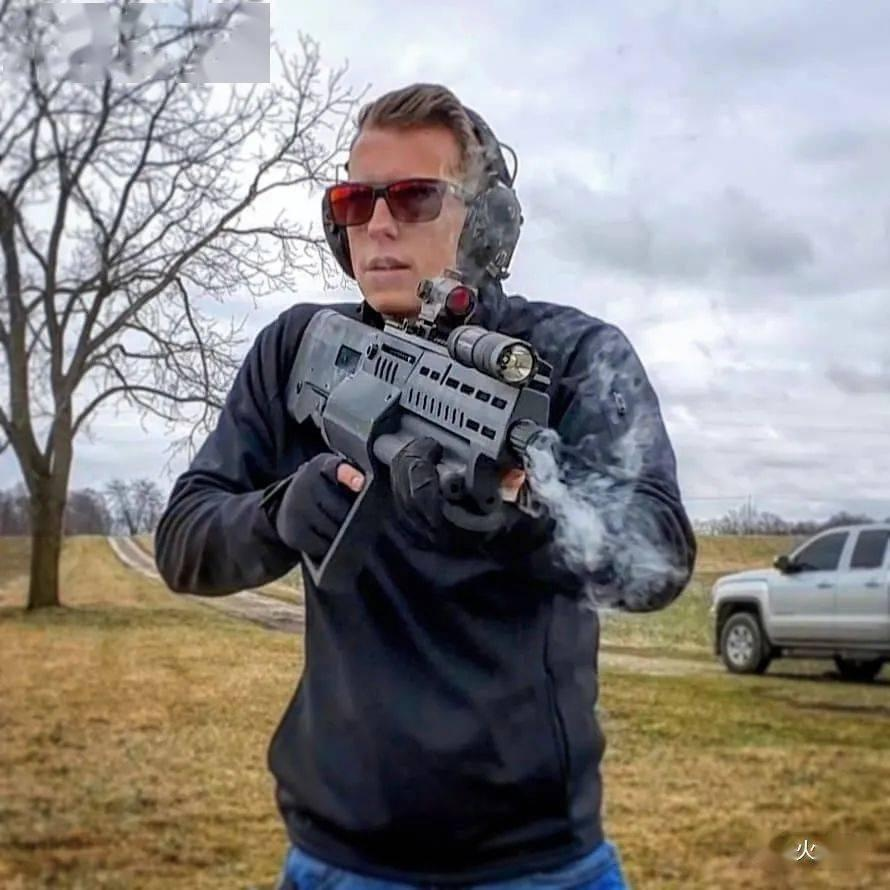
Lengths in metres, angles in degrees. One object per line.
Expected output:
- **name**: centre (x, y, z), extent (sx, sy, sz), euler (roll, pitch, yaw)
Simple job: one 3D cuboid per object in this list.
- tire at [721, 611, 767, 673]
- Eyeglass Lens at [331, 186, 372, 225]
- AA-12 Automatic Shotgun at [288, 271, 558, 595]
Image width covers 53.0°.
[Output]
- **tire**: centre (1.875, 1.235, 5.597), extent (0.333, 0.421, 0.148), euler (6, -5, -29)
- **Eyeglass Lens**: centre (-0.265, -0.677, 2.504), extent (0.106, 0.143, 0.056), euler (5, 17, 22)
- **AA-12 Automatic Shotgun**: centre (-0.115, -0.011, 2.324), extent (0.334, 0.775, 1.192), euler (5, -1, -28)
